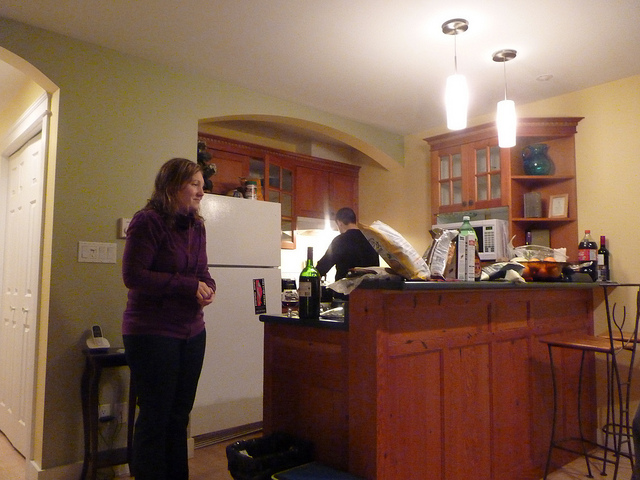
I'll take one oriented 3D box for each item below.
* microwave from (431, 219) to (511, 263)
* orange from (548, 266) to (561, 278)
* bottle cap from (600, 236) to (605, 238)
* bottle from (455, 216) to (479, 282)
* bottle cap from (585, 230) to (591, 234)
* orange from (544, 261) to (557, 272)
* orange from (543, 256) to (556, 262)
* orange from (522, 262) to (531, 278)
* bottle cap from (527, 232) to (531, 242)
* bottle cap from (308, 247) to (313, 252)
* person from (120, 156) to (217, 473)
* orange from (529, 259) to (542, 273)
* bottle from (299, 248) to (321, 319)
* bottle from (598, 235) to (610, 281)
[{"bbox_3d":[1.529,0.040,4.915,0.382,0.444,0.699,-3,0,-41],"label":"microwave"},{"bbox_3d":[1.542,0.213,3.257,0.076,0.091,0.076,2,5,0],"label":"orange"},{"bbox_3d":[2.435,-0.022,4.275,0.023,0.014,0.023,-1,-3,-8],"label":"bottle cap"},{"bbox_3d":[0.833,0.048,2.820,0.125,0.382,0.371,-1,-3,17],"label":"bottle"},{"bbox_3d":[2.296,-0.067,4.259,0.033,0.024,0.033,-1,1,-8],"label":"bottle cap"},{"bbox_3d":[1.507,0.177,3.230,0.063,0.076,0.065,2,4,29],"label":"orange"},{"bbox_3d":[1.510,0.128,3.251,0.092,0.038,0.046,2,-4,-31],"label":"orange"},{"bbox_3d":[1.340,0.198,3.223,0.079,0.098,0.038,3,-4,-44],"label":"orange"},{"bbox_3d":[1.968,-0.023,4.665,0.029,0.091,0.035,-1,-3,22],"label":"bottle cap"},{"bbox_3d":[-0.053,0.056,2.755,0.021,0.026,0.040,0,-3,-1],"label":"bottle cap"},{"bbox_3d":[-0.797,0.408,2.659,0.480,1.736,0.265,1,-3,-20],"label":"person"},{"bbox_3d":[1.406,0.170,3.233,0.087,0.082,0.032,1,-3,-13],"label":"orange"},{"bbox_3d":[-0.054,0.240,2.715,0.112,0.388,0.088,0,-3,-5],"label":"bottle"},{"bbox_3d":[2.417,0.158,4.240,0.071,0.365,0.186,-2,-3,34],"label":"bottle"}]
